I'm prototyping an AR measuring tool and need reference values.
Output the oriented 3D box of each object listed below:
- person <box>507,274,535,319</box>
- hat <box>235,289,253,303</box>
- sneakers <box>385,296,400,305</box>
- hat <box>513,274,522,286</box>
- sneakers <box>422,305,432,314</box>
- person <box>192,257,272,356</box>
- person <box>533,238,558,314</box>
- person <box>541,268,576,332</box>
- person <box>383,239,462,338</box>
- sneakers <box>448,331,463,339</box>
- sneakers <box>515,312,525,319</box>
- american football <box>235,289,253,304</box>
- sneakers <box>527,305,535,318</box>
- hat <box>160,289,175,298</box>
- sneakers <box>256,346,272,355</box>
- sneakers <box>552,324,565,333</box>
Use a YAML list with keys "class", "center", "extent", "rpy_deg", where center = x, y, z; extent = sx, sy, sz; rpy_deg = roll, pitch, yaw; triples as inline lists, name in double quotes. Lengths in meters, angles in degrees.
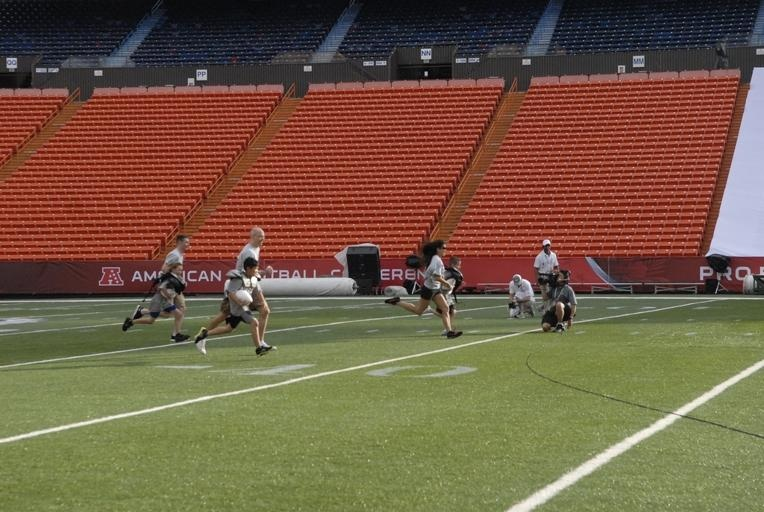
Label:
- class: "person"
  center: [3.616, 1.040, 20.528]
  extent: [0.655, 1.090, 1.151]
  rpy_deg: [-2, 2, 9]
- class: "hat"
  center: [-2.230, 0.671, 13.038]
  extent: [0.314, 0.230, 0.273]
  rpy_deg: [-3, 2, -43]
- class: "sneakers"
  center: [0.217, 0.892, 15.672]
  extent: [0.117, 0.126, 0.323]
  rpy_deg: [16, 22, 39]
- class: "hat"
  center: [3.451, 0.602, 20.243]
  extent: [0.263, 0.304, 0.332]
  rpy_deg: [-2, -4, 8]
- class: "sneakers"
  center: [1.277, 1.530, 22.556]
  extent: [0.207, 0.235, 0.589]
  rpy_deg: [-2, -10, 2]
- class: "person"
  center: [-2.359, 0.850, 13.195]
  extent: [1.325, 1.626, 0.655]
  rpy_deg: [-1, 2, 30]
- class: "person"
  center: [4.500, 0.613, 21.339]
  extent: [0.780, 1.970, 0.641]
  rpy_deg: [-9, 5, -22]
- class: "person"
  center: [3.734, 0.931, 16.820]
  extent: [0.693, 1.233, 0.975]
  rpy_deg: [-2, 2, 11]
- class: "person"
  center: [1.010, 0.633, 15.543]
  extent: [0.640, 1.835, 1.492]
  rpy_deg: [-3, 2, -30]
- class: "sneakers"
  center: [1.426, 1.504, 15.102]
  extent: [0.342, 0.115, 0.162]
  rpy_deg: [1, 7, -39]
- class: "sneakers"
  center: [3.595, 1.530, 20.442]
  extent: [0.311, 0.191, 0.100]
  rpy_deg: [-7, 10, 2]
- class: "american football"
  center: [-2.246, 0.658, 12.960]
  extent: [0.233, 0.138, 0.229]
  rpy_deg: [7, 14, 24]
- class: "sneakers"
  center: [3.856, 1.431, 20.714]
  extent: [0.147, 0.231, 0.470]
  rpy_deg: [-4, -2, 9]
- class: "hat"
  center: [-4.077, 0.720, 15.240]
  extent: [0.319, 0.151, 0.234]
  rpy_deg: [-1, -14, 3]
- class: "sneakers"
  center: [-1.946, 1.529, 12.971]
  extent: [0.285, 0.124, 0.091]
  rpy_deg: [-19, 39, 18]
- class: "sneakers"
  center: [3.658, 1.487, 16.454]
  extent: [0.136, 0.141, 0.349]
  rpy_deg: [-1, -8, 3]
